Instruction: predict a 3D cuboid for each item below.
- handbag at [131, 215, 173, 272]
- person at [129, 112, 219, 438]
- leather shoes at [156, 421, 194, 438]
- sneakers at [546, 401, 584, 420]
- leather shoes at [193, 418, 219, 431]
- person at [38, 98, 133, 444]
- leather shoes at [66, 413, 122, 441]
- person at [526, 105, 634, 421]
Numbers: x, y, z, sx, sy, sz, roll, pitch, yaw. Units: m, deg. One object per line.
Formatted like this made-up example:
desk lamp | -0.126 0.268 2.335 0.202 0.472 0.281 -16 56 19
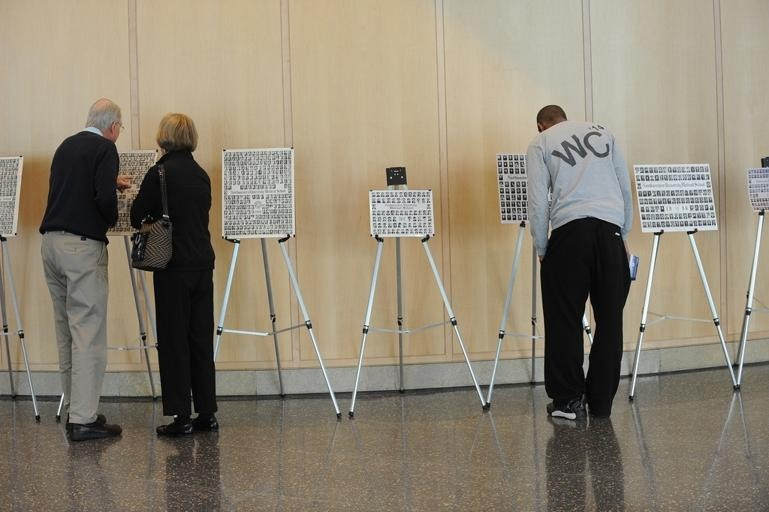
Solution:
handbag | -1.931 -0.108 9.249 0.281 0.378 0.203 -21 -34 32
person | -1.754 0.154 9.410 0.624 2.676 0.389 -4 7 -12
leather shoes | -1.758 1.442 9.402 0.339 0.162 0.128 2 2 29
sneakers | 1.556 1.314 9.531 0.131 0.139 0.283 -4 7 -39
leather shoes | -1.524 1.441 9.486 0.231 0.110 0.094 3 3 32
person | -2.513 0.105 9.409 0.721 2.818 0.499 -5 7 -19
leather shoes | -2.426 1.466 9.453 0.528 0.254 0.183 -1 3 -26
person | 1.678 0.108 9.558 0.860 2.500 0.532 -1 7 11
